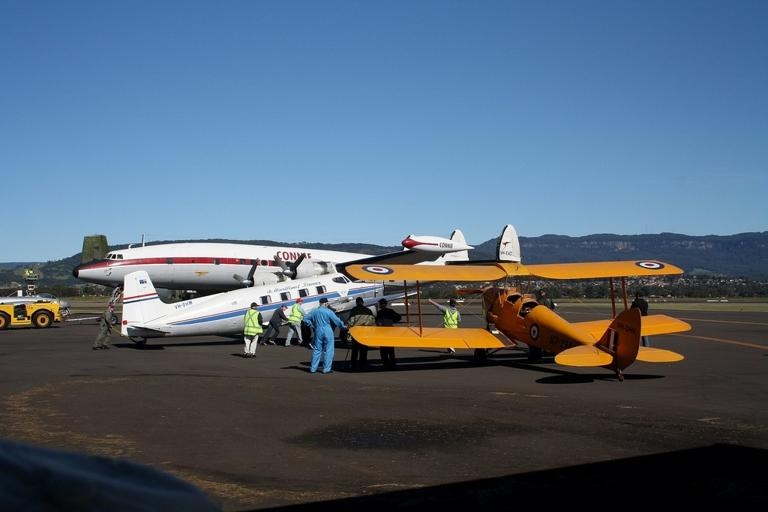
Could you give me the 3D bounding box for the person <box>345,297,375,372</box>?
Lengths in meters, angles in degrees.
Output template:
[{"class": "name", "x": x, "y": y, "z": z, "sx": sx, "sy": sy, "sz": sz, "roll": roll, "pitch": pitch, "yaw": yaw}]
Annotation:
[{"class": "person", "x": -0.902, "y": 2.853, "z": 20.634, "sx": 1.662, "sy": 2.169, "sz": 1.108, "roll": 0, "pitch": -6, "yaw": 0}]
